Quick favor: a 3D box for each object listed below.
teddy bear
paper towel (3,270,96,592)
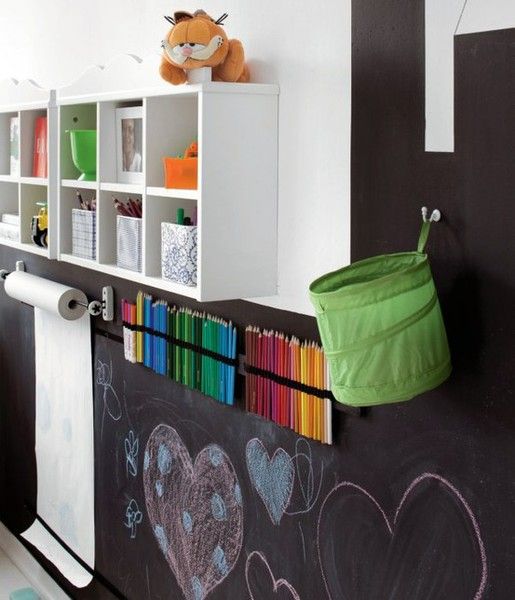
[{"bbox_3d":[-0.101,-0.468,1.052,0.162,0.129,0.109,-5,9,-13],"label":"teddy bear"},{"bbox_3d":[-0.737,0.476,2.047,0.193,1.143,0.725,-6,9,-35],"label":"paper towel"}]
